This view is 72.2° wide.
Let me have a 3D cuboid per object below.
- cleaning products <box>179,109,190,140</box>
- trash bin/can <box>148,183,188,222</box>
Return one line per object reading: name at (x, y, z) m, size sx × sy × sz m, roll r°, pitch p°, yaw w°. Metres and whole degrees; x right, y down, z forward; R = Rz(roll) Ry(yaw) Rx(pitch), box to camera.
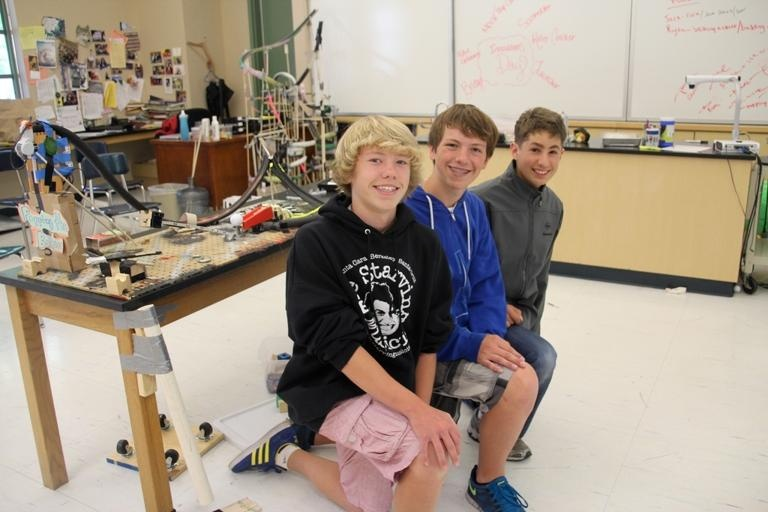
cleaning products at (-2.271, -1.489, 5.998) m, size 0.111 × 0.317 × 0.304 m, roll -7°, pitch 16°, yaw -20°
trash bin/can at (-2.422, -0.595, 5.790) m, size 0.212 × 0.238 × 0.235 m, roll 4°, pitch -7°, yaw 1°
